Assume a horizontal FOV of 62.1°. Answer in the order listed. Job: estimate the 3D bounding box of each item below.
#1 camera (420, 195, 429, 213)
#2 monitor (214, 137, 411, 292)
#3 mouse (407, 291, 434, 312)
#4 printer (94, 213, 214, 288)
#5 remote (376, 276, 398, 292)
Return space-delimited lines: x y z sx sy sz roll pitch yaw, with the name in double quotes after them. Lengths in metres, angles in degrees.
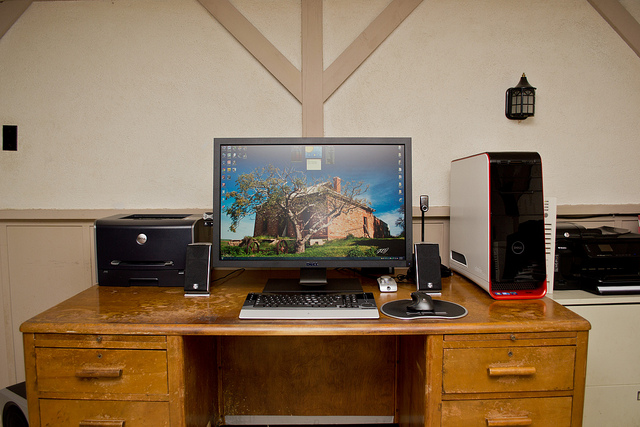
0.619 -0.071 3.165 0.037 0.099 0.038 1 2 20 "camera"
-0.073 -0.010 3.028 1.206 0.845 0.433 0 2 21 "monitor"
0.538 0.461 2.843 0.132 0.095 0.126 1 2 12 "mouse"
-1.026 0.209 3.277 0.637 0.374 0.452 1 6 -2 "printer"
0.380 0.401 3.053 0.087 0.049 0.153 0 1 -2 "remote"
